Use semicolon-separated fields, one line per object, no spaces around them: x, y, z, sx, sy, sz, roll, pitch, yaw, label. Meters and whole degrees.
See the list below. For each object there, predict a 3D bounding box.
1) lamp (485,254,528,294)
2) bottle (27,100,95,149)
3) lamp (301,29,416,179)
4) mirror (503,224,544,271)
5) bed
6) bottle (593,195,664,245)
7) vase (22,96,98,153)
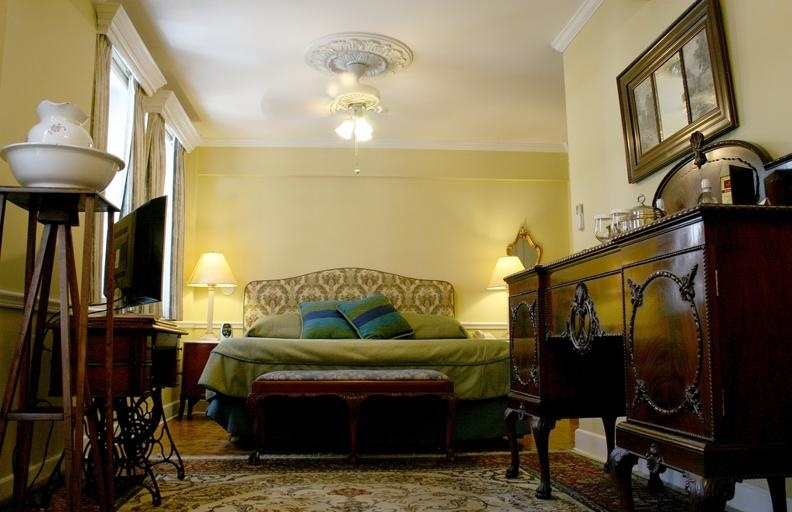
1.222;0.217;6.583;0.447;0.362;0.498;-1;-13;3;lamp
-1.653;-0.611;2.994;0.278;0.291;0.283;2;2;28;bottle
-0.331;-1.324;5.081;0.778;0.794;0.746;16;-26;-41;lamp
1.432;-0.076;6.720;0.524;0.763;0.069;0;-10;-6;mirror
-0.319;0.952;5.473;1.813;1.161;1.841;-1;-10;-4;bed
1.191;-0.178;3.055;0.383;0.268;0.236;-13;-7;26;bottle
-1.673;-0.614;2.976;0.286;0.303;0.295;2;2;39;vase
